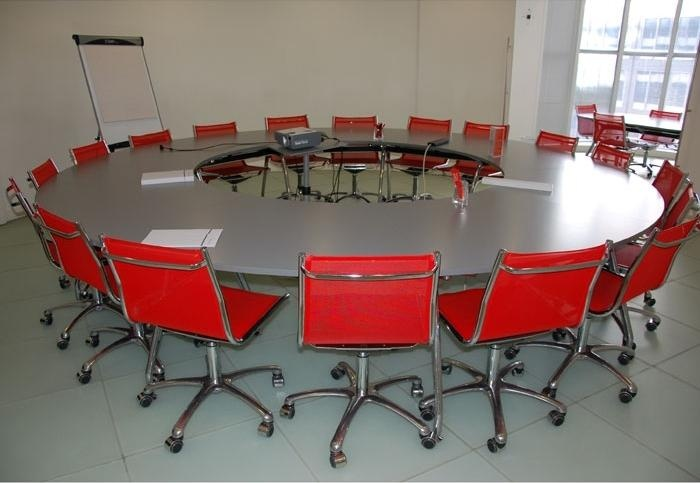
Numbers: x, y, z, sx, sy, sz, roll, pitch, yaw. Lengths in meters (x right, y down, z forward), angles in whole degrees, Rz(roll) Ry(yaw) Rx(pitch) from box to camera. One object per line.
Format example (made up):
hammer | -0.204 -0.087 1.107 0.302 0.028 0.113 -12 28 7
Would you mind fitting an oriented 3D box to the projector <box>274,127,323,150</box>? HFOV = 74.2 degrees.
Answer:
projector | -0.508 -1.080 4.841 0.323 0.121 0.298 -12 21 -34
